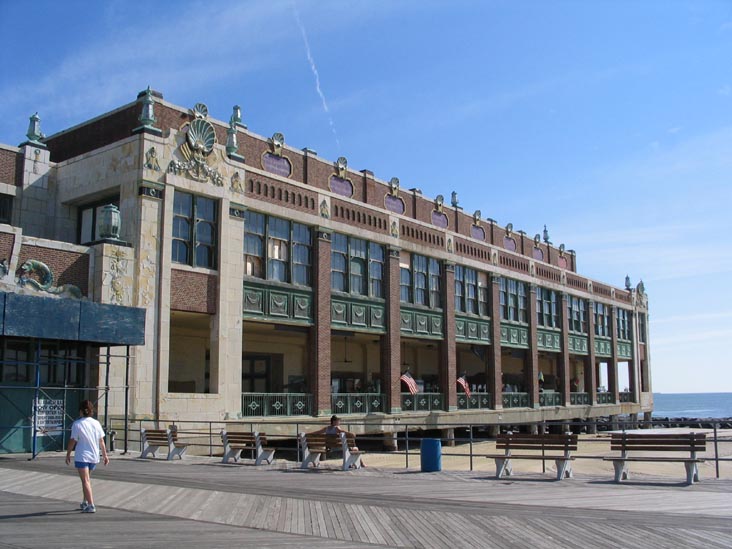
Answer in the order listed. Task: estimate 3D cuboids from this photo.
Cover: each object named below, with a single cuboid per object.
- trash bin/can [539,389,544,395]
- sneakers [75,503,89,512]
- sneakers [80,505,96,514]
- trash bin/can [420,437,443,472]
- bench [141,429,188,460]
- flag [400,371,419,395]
[{"bbox_3d":[12.055,8.075,51.329,0.276,0.340,1.797,0,-3,15],"label":"trash bin/can"},{"bbox_3d":[-5.679,4.643,14.956,0.116,0.133,0.290,11,-18,-42],"label":"sneakers"},{"bbox_3d":[-5.528,4.662,14.957,0.330,0.166,0.136,-4,-6,30],"label":"sneakers"},{"bbox_3d":[2.052,5.345,22.274,0.732,0.883,0.744,5,-12,-19],"label":"trash bin/can"},{"bbox_3d":[-6.898,5.660,25.198,1.284,1.012,2.149,3,-4,-31],"label":"bench"},{"bbox_3d":[2.292,5.657,38.842,0.981,1.226,2.797,1,-3,4],"label":"flag"}]
